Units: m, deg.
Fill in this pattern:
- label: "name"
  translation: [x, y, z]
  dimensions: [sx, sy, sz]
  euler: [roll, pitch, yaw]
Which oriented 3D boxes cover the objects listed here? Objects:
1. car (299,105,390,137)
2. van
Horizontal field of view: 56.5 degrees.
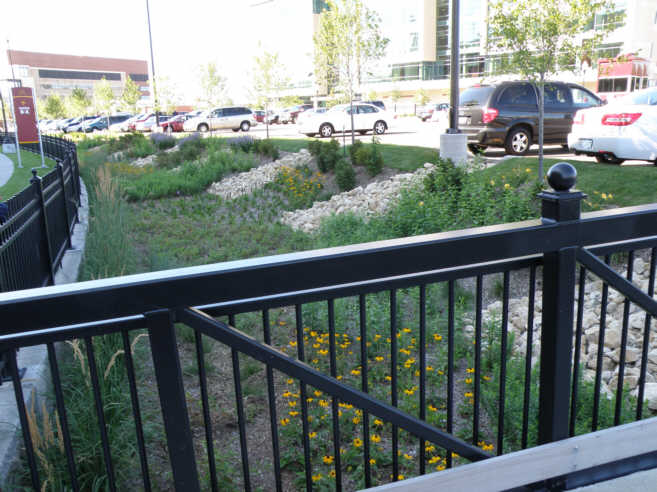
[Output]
- label: "car"
  translation: [0.721, -5.365, 25.951]
  dimensions: [3.744, 1.644, 2.084]
  euler: [-20, 25, -37]
- label: "van"
  translation: [5.090, -3.200, 15.107]
  dimensions: [3.895, 1.625, 1.999]
  euler: [-12, 18, -18]
